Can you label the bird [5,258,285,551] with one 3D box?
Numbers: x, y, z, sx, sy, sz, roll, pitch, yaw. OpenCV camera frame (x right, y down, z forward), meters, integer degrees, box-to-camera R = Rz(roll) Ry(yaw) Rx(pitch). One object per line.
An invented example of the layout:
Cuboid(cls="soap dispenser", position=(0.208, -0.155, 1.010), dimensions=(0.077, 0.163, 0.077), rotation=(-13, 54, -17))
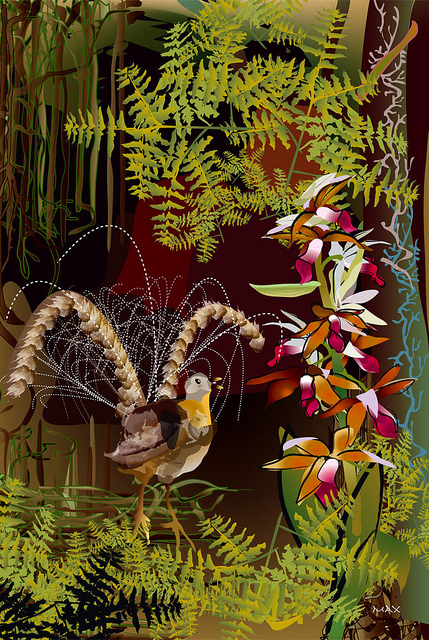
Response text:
Cuboid(cls="bird", position=(-0.097, 0.119, 1.147), dimensions=(0.454, 0.512, 0.566), rotation=(-7, -11, 34))
